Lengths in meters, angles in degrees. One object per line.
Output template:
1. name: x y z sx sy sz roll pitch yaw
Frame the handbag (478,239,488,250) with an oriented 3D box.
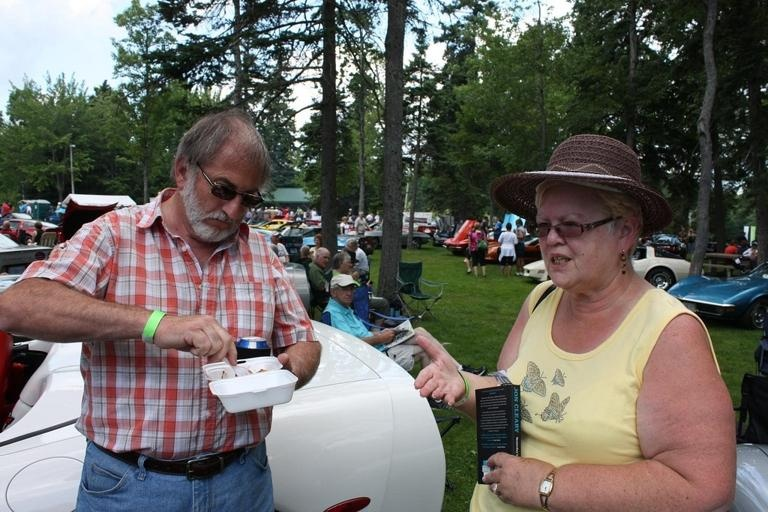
1. handbag: 2.775 -0.311 18.148 0.235 0.250 0.245 9 20 40

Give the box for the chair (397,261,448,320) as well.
1. chair: 0.622 0.669 11.905 1.051 1.041 1.074 5 4 10

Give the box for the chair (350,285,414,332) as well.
1. chair: -0.106 0.784 9.374 0.665 0.868 0.687 1 5 4

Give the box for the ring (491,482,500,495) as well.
1. ring: 0.500 1.052 2.917 0.016 0.047 0.034 -13 -36 27

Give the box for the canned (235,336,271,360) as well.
1. canned: -0.631 0.436 3.076 0.108 0.079 0.111 -1 -7 11

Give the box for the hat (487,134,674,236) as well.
1. hat: 1.023 -0.393 3.251 0.852 0.367 0.893 7 6 -3

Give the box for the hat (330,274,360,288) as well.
1. hat: -0.498 0.319 8.161 0.242 0.119 0.366 1 0 -18
